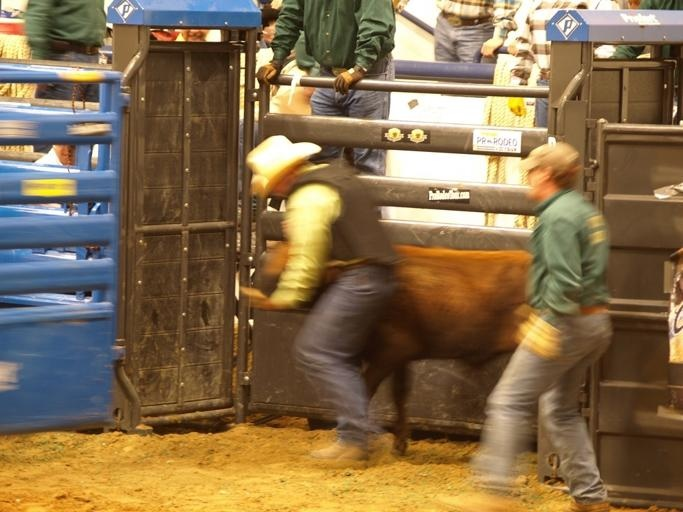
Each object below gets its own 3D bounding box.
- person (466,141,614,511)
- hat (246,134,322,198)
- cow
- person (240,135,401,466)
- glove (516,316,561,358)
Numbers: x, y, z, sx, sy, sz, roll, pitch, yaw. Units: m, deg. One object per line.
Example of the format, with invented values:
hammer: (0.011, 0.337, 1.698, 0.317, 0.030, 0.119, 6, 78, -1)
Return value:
person: (1.172, 0.434, 4.779, 0.606, 2.062, 0.767, -3, -5, 36)
hat: (-0.366, -0.565, 5.263, 0.454, 0.376, 0.240, -3, -4, 41)
cow: (0.359, 0.590, 5.648, 2.587, 1.595, 0.642, 0, 6, -38)
person: (-0.093, 0.299, 5.381, 0.618, 2.107, 0.845, -4, -5, 44)
glove: (1.090, 0.461, 4.718, 0.223, 0.160, 0.232, 46, 12, 29)
